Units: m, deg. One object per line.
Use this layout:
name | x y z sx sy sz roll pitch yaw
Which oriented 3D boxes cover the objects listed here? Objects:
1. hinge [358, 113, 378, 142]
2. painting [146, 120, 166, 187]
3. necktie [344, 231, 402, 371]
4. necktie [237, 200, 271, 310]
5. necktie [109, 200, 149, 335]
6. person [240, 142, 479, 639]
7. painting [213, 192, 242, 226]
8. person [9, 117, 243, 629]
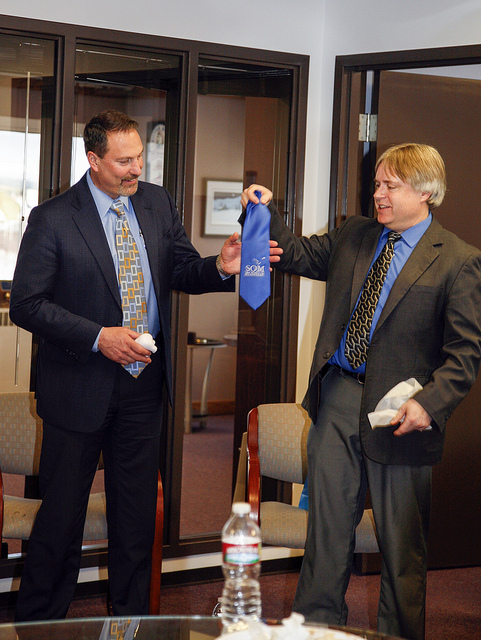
hinge | 0.583 -0.884 2.791 0.089 0.119 0.022 3 9 10
painting | -0.358 -0.725 2.667 0.085 0.432 0.017 -4 -28 1
necktie | 0.401 -0.066 1.857 0.159 0.412 0.086 -6 12 -40
necktie | 0.045 -0.205 1.857 0.088 0.320 0.118 2 9 3
necktie | -0.349 -0.175 1.924 0.098 0.403 0.135 -3 10 -27
person | 0.385 0.201 1.880 0.646 1.462 0.418 9 12 39
painting | -0.064 -0.522 2.848 0.146 0.153 0.027 -4 10 -32
person | -0.392 0.163 1.932 0.638 1.551 0.477 -2 10 -22
